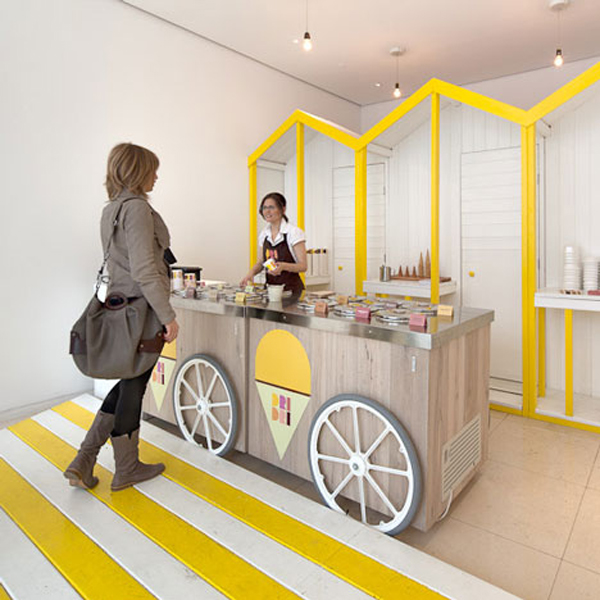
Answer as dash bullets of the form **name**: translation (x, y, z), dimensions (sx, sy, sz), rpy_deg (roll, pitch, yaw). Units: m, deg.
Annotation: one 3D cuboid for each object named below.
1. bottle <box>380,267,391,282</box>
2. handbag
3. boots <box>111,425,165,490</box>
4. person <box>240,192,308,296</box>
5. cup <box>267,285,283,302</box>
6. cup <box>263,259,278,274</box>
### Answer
- **bottle**: translation (0.680, -0.208, 4.080), dimensions (0.090, 0.149, 0.087), rpy_deg (1, 8, 0)
- **handbag**: translation (-0.778, 0.171, 2.144), dimensions (0.377, 0.365, 0.124), rpy_deg (2, 8, -15)
- **boots**: translation (-0.758, 0.737, 2.351), dimensions (0.107, 0.269, 0.241), rpy_deg (-7, -2, 44)
- **person**: translation (-0.177, -0.399, 3.505), dimensions (0.441, 0.713, 1.208), rpy_deg (3, 8, 0)
- **cup**: translation (-0.139, -0.041, 2.840), dimensions (0.066, 0.080, 0.088), rpy_deg (0, 0, 22)
- **cup**: translation (-0.164, -0.196, 2.927), dimensions (0.054, 0.096, 0.091), rpy_deg (-5, 8, 15)
